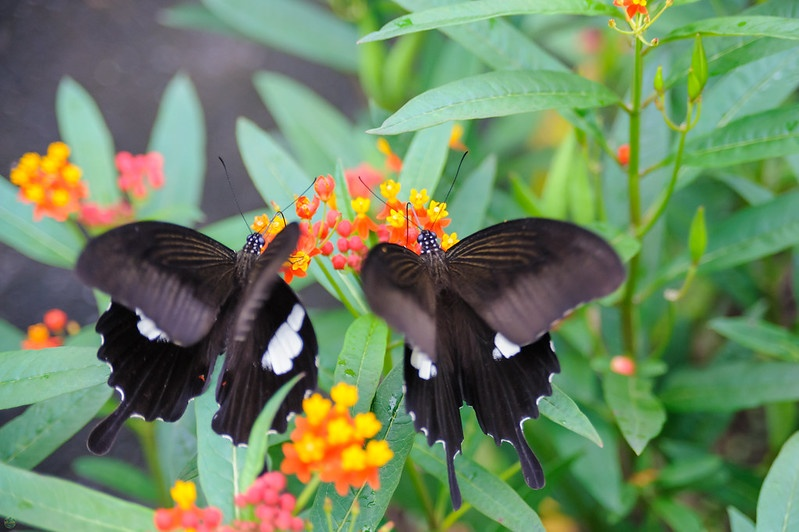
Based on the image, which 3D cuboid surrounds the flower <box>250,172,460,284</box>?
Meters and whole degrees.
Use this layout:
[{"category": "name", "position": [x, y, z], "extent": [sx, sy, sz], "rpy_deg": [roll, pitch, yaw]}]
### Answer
[{"category": "flower", "position": [-0.097, -0.150, 2.341], "extent": [0.411, 0.433, 0.183], "rpy_deg": [17, -46, 22]}]
